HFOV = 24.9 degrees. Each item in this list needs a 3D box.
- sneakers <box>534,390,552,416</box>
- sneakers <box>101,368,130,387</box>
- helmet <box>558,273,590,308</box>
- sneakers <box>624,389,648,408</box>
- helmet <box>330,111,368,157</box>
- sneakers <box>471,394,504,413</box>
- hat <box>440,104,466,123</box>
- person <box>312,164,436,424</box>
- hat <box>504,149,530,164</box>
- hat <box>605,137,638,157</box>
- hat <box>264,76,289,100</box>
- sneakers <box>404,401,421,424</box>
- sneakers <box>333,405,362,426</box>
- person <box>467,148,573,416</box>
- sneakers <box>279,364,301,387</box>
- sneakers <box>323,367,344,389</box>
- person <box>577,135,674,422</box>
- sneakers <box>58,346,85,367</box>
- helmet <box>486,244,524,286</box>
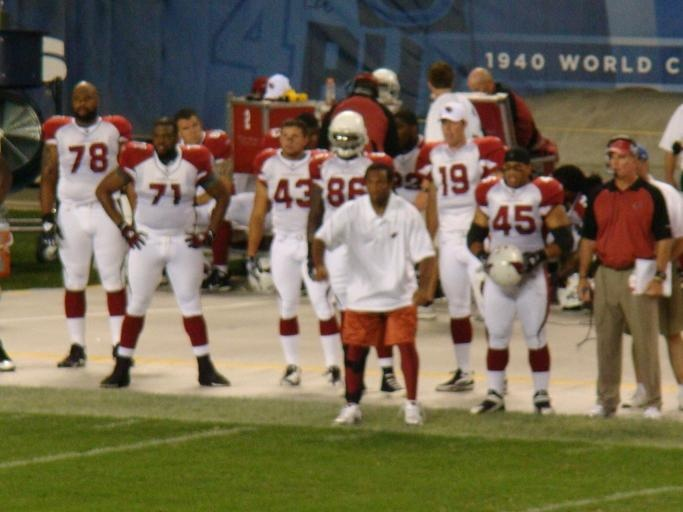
[{"bbox_3d":[1.894,1.342,14.371,0.182,0.199,0.316,1,12,4],"label":"sneakers"},{"bbox_3d":[-2.202,1.194,15.129,0.331,0.204,0.114,2,5,-2],"label":"sneakers"},{"bbox_3d":[2.722,0.399,18.508,0.371,0.433,0.189,1,3,13],"label":"helmet"},{"bbox_3d":[2.820,1.348,14.691,0.252,0.217,0.126,3,-6,12],"label":"sneakers"},{"bbox_3d":[0.062,-1.139,14.675,0.362,0.466,0.331,1,12,4],"label":"helmet"},{"bbox_3d":[1.387,1.352,14.450,0.405,0.154,0.128,-4,7,-34],"label":"sneakers"},{"bbox_3d":[1.133,-1.407,15.189,0.311,0.194,0.227,-3,13,-14],"label":"hat"},{"bbox_3d":[0.347,0.333,13.847,0.964,2.279,0.475,-1,13,-2],"label":"person"},{"bbox_3d":[1.649,-0.930,14.317,0.170,0.092,0.160,5,6,-12],"label":"hat"},{"bbox_3d":[2.614,-0.992,14.154,0.183,0.080,0.252,-1,-16,42],"label":"hat"},{"bbox_3d":[-0.879,-2.408,22.228,0.432,0.368,0.289,-4,39,-6],"label":"hat"},{"bbox_3d":[0.649,1.393,13.866,0.162,0.202,0.194,-3,-10,-5],"label":"sneakers"},{"bbox_3d":[0.084,1.414,13.873,0.167,0.101,0.216,-2,11,-14],"label":"sneakers"},{"bbox_3d":[1.659,0.216,14.449,0.974,2.437,0.821,4,13,18],"label":"person"},{"bbox_3d":[-0.493,1.168,15.347,0.228,0.168,0.233,-3,12,-13],"label":"sneakers"},{"bbox_3d":[-0.067,1.192,15.343,0.155,0.081,0.195,7,25,-8],"label":"sneakers"},{"bbox_3d":[2.606,0.182,14.170,0.823,2.494,0.628,2,13,9],"label":"person"},{"bbox_3d":[-2.780,1.008,15.863,0.286,0.217,0.178,-2,12,-10],"label":"sneakers"},{"bbox_3d":[1.529,0.069,14.315,0.318,0.283,0.383,-7,15,17],"label":"helmet"}]
